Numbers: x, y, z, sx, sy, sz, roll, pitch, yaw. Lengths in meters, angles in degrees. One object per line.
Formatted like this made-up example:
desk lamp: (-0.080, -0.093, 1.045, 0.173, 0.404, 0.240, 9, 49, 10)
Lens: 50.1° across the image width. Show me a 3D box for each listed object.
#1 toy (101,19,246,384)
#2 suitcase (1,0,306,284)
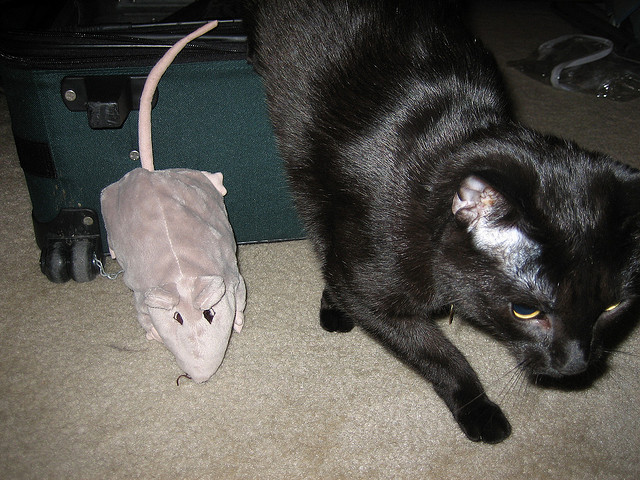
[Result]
toy: (-0.343, -0.097, 1.731, 0.483, 0.788, 0.329, -11, 5, -27)
suitcase: (-0.500, -0.303, 1.981, 0.743, 0.905, 0.271, -6, 40, -1)
